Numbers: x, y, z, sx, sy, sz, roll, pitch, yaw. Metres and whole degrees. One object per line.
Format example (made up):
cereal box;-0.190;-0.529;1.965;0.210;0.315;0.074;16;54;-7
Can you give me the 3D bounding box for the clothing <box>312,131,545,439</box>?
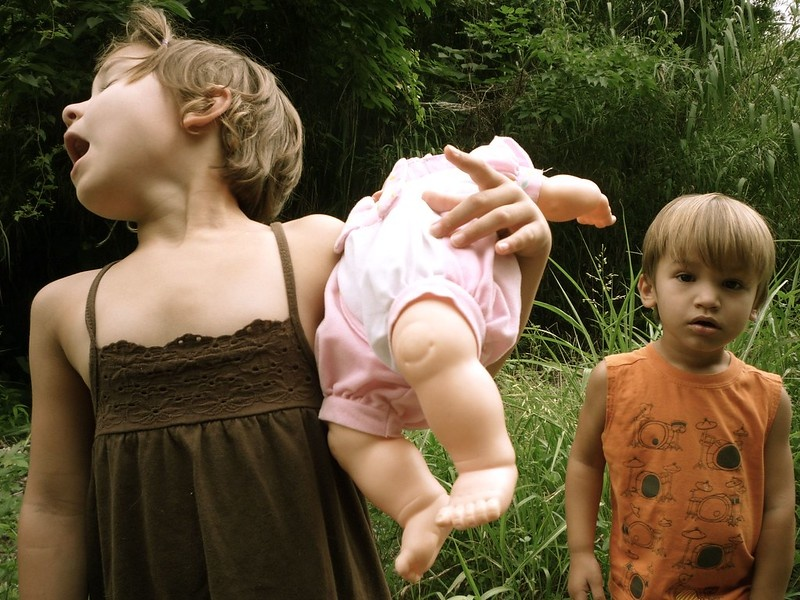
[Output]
clothing;0.080;-0.056;1.897;0.293;0.493;0.709;-3;41;24
